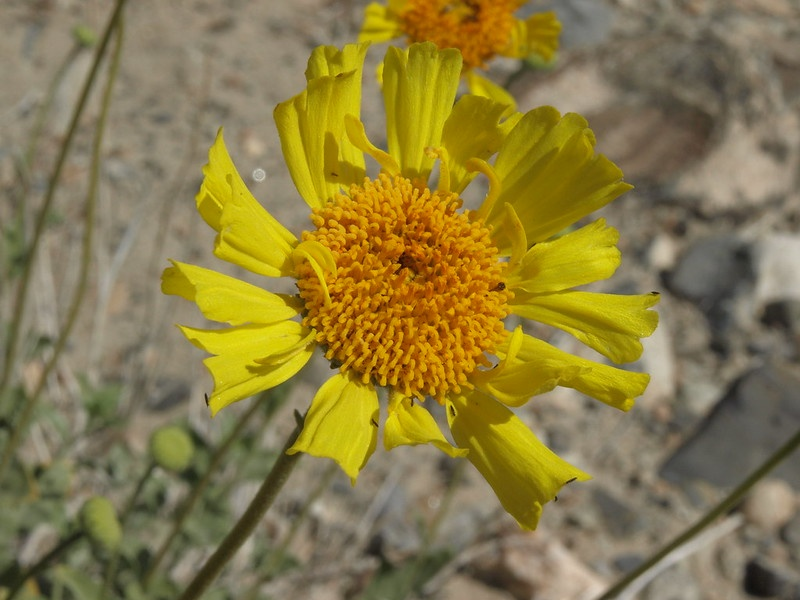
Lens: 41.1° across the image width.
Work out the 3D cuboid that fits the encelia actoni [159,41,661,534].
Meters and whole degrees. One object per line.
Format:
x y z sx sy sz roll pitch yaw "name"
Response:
0.018 -0.063 1.956 0.778 0.370 0.794 12 60 1 "encelia actoni"
